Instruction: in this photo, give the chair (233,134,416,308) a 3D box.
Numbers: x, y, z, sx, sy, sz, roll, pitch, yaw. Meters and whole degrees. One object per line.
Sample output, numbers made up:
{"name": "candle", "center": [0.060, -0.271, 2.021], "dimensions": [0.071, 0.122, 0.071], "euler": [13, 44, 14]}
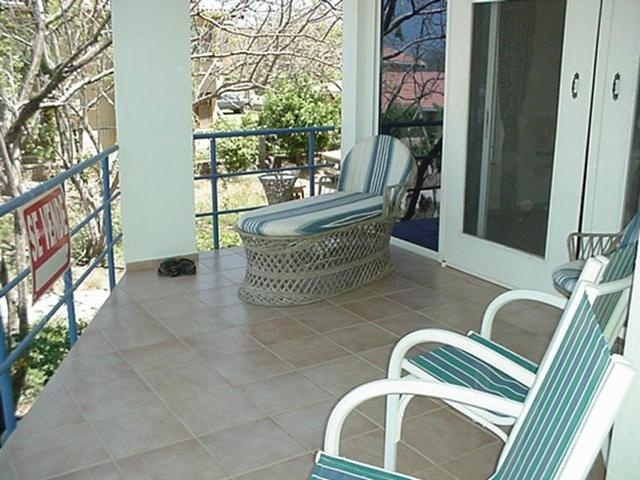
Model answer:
{"name": "chair", "center": [0.085, -0.262, 4.341], "dimensions": [1.566, 1.140, 0.907], "euler": [-15, 23, -36]}
